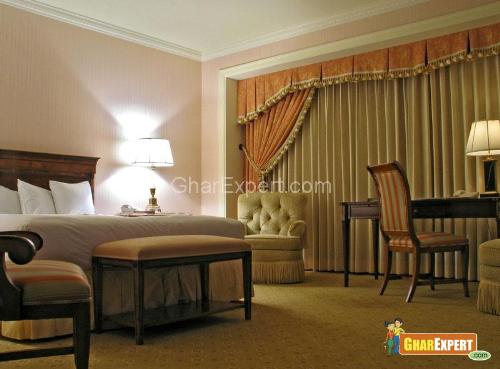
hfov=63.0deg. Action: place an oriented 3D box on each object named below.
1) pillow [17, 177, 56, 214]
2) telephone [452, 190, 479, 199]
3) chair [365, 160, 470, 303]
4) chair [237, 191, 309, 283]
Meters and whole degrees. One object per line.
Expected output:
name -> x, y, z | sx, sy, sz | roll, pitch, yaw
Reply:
pillow -> -2.271, 0.134, 4.325 | 0.217, 0.331, 0.365 | -9, -8, 18
telephone -> 2.044, 0.094, 3.876 | 0.221, 0.070, 0.161 | -1, -2, 44
chair -> 1.514, 0.421, 3.724 | 0.759, 1.222, 0.454 | 0, -2, -12
chair -> 0.251, 0.657, 5.080 | 0.983, 1.096, 1.004 | -2, -14, 10
